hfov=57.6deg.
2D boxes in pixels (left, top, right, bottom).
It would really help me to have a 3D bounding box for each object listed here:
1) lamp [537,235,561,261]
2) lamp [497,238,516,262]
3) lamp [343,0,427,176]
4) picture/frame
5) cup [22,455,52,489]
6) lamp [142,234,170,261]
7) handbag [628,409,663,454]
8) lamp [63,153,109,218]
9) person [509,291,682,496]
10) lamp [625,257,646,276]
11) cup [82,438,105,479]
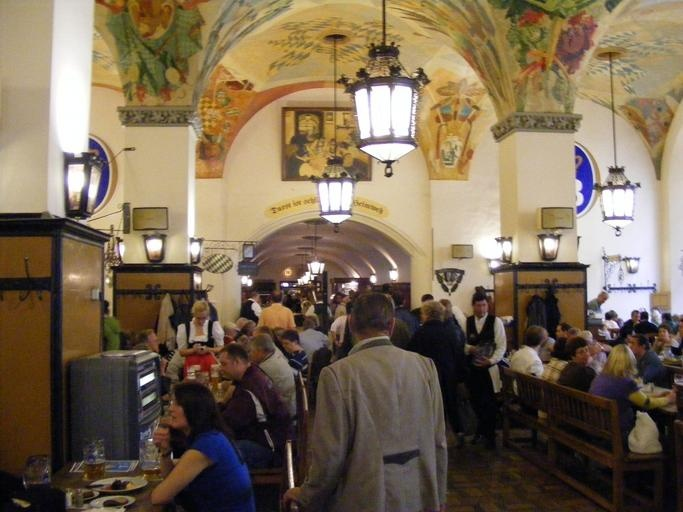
[{"bbox_3d":[3.408,-0.121,10.262,0.400,0.453,0.409,0,-4,-3],"label":"lamp"},{"bbox_3d":[2.825,-0.112,10.850,0.187,0.465,0.601,-1,2,0],"label":"lamp"},{"bbox_3d":[0.488,-1.978,7.014,0.891,2.069,1.216,-1,2,4],"label":"lamp"},{"bbox_3d":[-0.513,-2.579,14.032,2.634,2.252,0.211,0,-1,-3],"label":"picture/frame"},{"bbox_3d":[-2.064,1.443,4.189,0.195,0.227,0.207,0,-10,0],"label":"cup"},{"bbox_3d":[-2.905,-0.107,9.759,0.396,0.494,0.387,0,-7,-6],"label":"lamp"},{"bbox_3d":[3.094,1.788,6.351,0.340,0.389,0.345,-1,-5,19],"label":"handbag"},{"bbox_3d":[-2.281,-0.636,5.546,0.235,0.623,0.354,-1,2,18],"label":"lamp"},{"bbox_3d":[2.783,1.800,7.004,0.760,1.574,2.017,-2,2,-12],"label":"person"},{"bbox_3d":[7.707,0.251,16.393,0.483,0.463,0.188,-2,2,-19],"label":"lamp"},{"bbox_3d":[-1.779,1.450,4.451,0.133,0.284,0.123,-1,2,0],"label":"cup"}]
